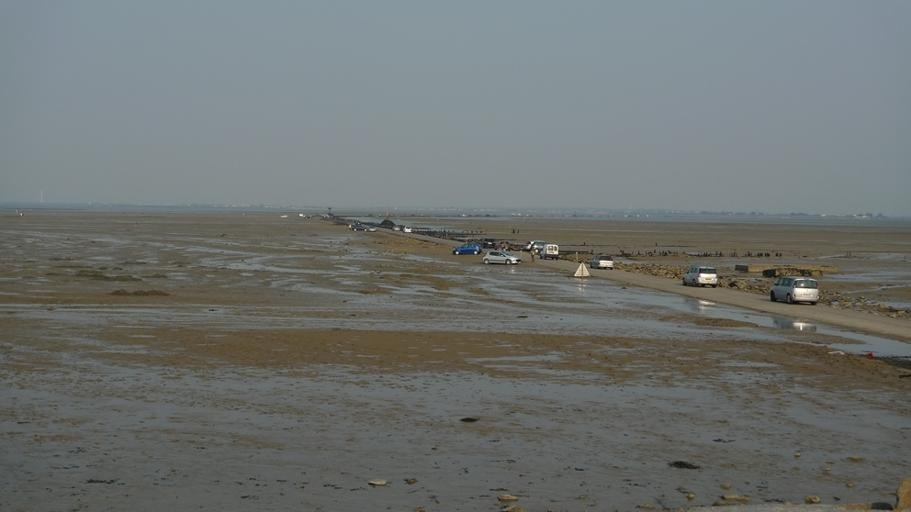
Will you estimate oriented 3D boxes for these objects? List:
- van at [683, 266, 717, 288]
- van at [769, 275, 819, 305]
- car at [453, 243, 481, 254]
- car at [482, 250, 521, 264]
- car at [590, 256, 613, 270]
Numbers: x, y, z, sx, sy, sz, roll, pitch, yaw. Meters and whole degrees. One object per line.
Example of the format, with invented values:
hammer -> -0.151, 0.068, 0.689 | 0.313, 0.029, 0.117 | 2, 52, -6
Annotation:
van -> 17.828, 1.474, 64.891 | 1.782, 0.820, 2.418 | -1, 7, -11
van -> 20.696, 2.129, 54.433 | 2.130, 0.889, 2.625 | 0, 5, -5
car -> 1.385, -0.768, 100.003 | 3.066, 0.756, 1.334 | 1, -1, 0
car -> 4.350, 0.152, 84.146 | 3.212, 0.713, 1.531 | -1, 1, 7
car -> 13.282, 0.613, 80.569 | 1.482, 0.558, 1.917 | -1, 5, -16
